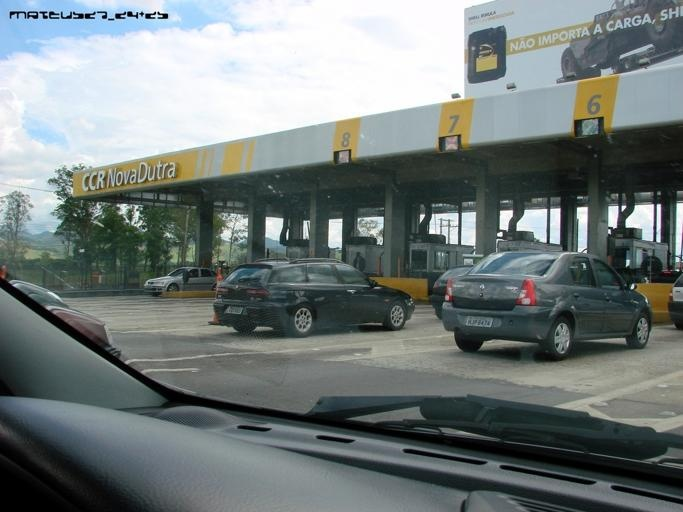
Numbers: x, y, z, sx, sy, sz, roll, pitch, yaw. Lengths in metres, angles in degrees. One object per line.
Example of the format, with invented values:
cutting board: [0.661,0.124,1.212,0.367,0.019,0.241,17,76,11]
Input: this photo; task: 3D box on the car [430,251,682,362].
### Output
car: [2.356,0.500,7.387,1.575,1.177,2.668,0,-2,-36]

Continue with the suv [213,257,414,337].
suv: [-0.356,0.714,11.413,3.265,0.966,1.440,-1,-1,-39]
